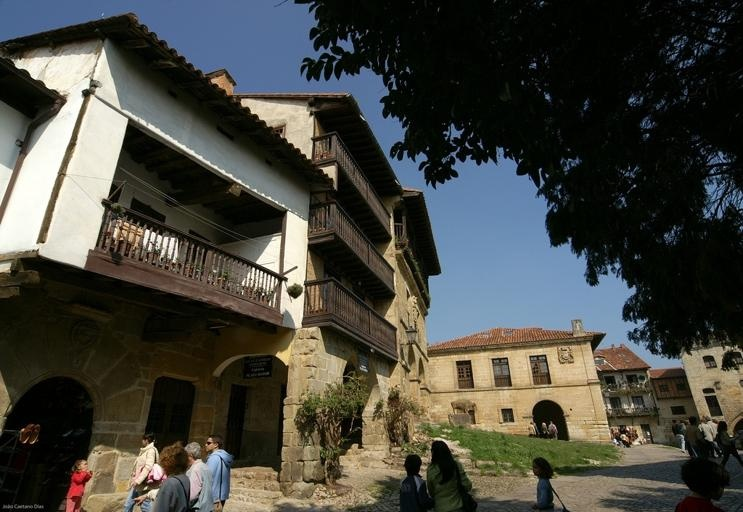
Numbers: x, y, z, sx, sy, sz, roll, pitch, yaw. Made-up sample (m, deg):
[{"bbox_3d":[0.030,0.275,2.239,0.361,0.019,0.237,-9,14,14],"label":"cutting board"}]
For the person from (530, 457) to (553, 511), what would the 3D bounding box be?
[{"bbox_3d":[2.872,3.799,6.641,0.354,0.801,0.932,-10,-27,20],"label":"person"}]

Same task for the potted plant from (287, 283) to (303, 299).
[{"bbox_3d":[-2.359,1.093,12.181,0.433,0.389,0.439,1,-9,-18],"label":"potted plant"}]
